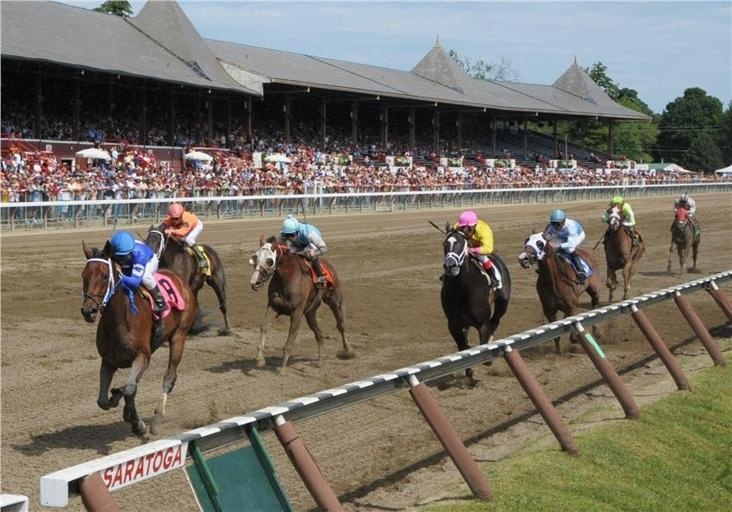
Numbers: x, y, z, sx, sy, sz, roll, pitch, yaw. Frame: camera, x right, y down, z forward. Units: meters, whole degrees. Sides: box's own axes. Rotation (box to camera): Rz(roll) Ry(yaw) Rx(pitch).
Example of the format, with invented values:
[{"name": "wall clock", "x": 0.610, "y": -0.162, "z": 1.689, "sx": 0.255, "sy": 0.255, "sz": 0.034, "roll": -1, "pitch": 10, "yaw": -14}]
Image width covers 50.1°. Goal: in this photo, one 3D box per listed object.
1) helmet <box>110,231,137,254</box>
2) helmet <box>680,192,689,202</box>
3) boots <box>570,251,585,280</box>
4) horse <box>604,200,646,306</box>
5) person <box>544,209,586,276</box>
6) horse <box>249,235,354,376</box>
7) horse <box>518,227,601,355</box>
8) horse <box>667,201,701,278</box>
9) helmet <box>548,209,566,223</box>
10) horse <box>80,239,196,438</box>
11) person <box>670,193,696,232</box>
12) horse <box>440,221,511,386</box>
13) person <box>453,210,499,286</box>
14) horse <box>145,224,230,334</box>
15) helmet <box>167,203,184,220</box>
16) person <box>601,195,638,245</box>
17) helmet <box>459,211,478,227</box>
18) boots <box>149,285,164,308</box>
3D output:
[{"name": "helmet", "x": -2.285, "y": -0.125, "z": 7.382, "sx": 0.175, "sy": 0.134, "sz": 0.241, "roll": -5, "pitch": 48, "yaw": -7}, {"name": "helmet", "x": 6.795, "y": -1.271, "z": 16.672, "sx": 0.132, "sy": 0.175, "sz": 0.186, "roll": -2, "pitch": -24, "yaw": 22}, {"name": "boots", "x": 2.836, "y": 0.141, "z": 10.481, "sx": 0.071, "sy": 0.348, "sz": 0.189, "roll": -23, "pitch": -27, "yaw": 30}, {"name": "horse", "x": 4.558, "y": 0.010, "z": 14.042, "sx": 0.571, "sy": 1.631, "sz": 2.561, "roll": 2, "pitch": -3, "yaw": 22}, {"name": "person", "x": 2.802, "y": -0.190, "z": 10.857, "sx": 0.475, "sy": 0.916, "sz": 1.150, "roll": 4, "pitch": 7, "yaw": 33}, {"name": "horse", "x": -0.785, "y": 0.628, "z": 9.520, "sx": 0.571, "sy": 1.538, "sz": 2.353, "roll": -2, "pitch": -6, "yaw": 23}, {"name": "horse", "x": 2.617, "y": 0.441, "z": 10.381, "sx": 0.829, "sy": 1.690, "sz": 2.043, "roll": -1, "pitch": 8, "yaw": 20}, {"name": "horse", "x": 6.859, "y": -0.379, "z": 16.828, "sx": 0.435, "sy": 1.315, "sz": 1.940, "roll": 6, "pitch": 0, "yaw": 30}, {"name": "helmet", "x": 2.612, "y": -0.540, "z": 10.642, "sx": 0.290, "sy": 0.168, "sz": 0.426, "roll": -2, "pitch": 3, "yaw": 12}, {"name": "horse", "x": -2.220, "y": 0.743, "z": 7.561, "sx": 0.560, "sy": 1.899, "sz": 1.413, "roll": -3, "pitch": 8, "yaw": 10}, {"name": "person", "x": 6.802, "y": -0.995, "z": 16.685, "sx": 0.425, "sy": 0.639, "sz": 1.594, "roll": -1, "pitch": 8, "yaw": 23}, {"name": "horse", "x": 1.244, "y": 0.495, "z": 9.162, "sx": 0.694, "sy": 1.794, "sz": 1.382, "roll": -1, "pitch": 8, "yaw": 19}, {"name": "person", "x": 1.339, "y": -0.027, "z": 9.438, "sx": 0.451, "sy": 0.831, "sz": 1.110, "roll": -8, "pitch": -8, "yaw": 15}, {"name": "horse", "x": -2.370, "y": 0.351, "z": 10.611, "sx": 0.380, "sy": 1.124, "sz": 1.685, "roll": -4, "pitch": -11, "yaw": 28}, {"name": "helmet", "x": -2.547, "y": -0.611, "z": 10.460, "sx": 0.176, "sy": 0.131, "sz": 0.231, "roll": -10, "pitch": 18, "yaw": -20}, {"name": "person", "x": 4.573, "y": -0.580, "z": 14.069, "sx": 0.568, "sy": 0.826, "sz": 1.387, "roll": 6, "pitch": 1, "yaw": 27}, {"name": "helmet", "x": 1.182, "y": -0.430, "z": 9.054, "sx": 0.171, "sy": 0.122, "sz": 0.231, "roll": 2, "pitch": 7, "yaw": 9}, {"name": "boots", "x": -2.016, "y": 0.395, "z": 7.543, "sx": 0.146, "sy": 0.192, "sz": 0.071, "roll": -20, "pitch": -2, "yaw": -26}]
